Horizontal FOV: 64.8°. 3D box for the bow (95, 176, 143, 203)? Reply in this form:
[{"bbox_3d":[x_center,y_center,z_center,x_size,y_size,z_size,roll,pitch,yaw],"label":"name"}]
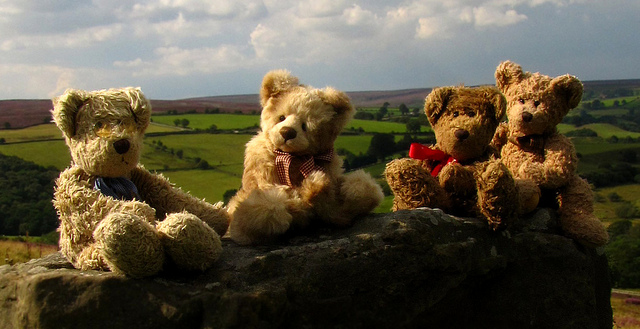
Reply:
[{"bbox_3d":[-3.462,0.437,8.725,0.600,0.197,0.433,10,28,-47],"label":"bow"}]

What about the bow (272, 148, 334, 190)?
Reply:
[{"bbox_3d":[-0.313,0.014,8.895,0.763,0.808,0.764,2,2,7],"label":"bow"}]

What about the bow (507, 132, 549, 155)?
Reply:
[{"bbox_3d":[4.122,-0.477,10.072,0.654,0.275,0.452,16,39,20],"label":"bow"}]
